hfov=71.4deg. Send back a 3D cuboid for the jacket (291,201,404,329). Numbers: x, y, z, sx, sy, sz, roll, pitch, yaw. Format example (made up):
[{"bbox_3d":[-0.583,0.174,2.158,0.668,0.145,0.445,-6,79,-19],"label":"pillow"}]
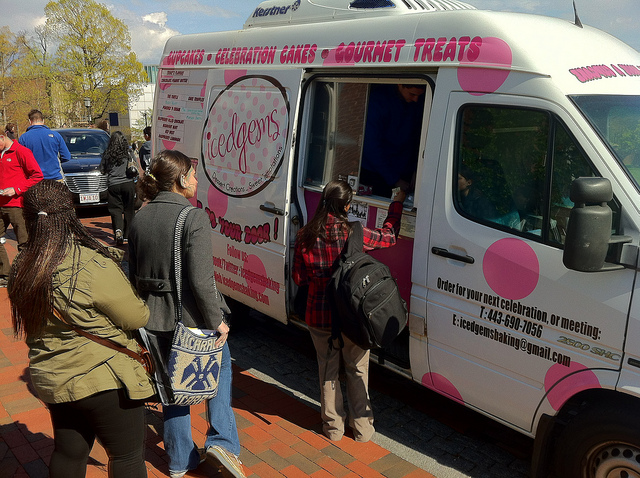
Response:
[{"bbox_3d":[0.274,-0.140,4.356,0.720,1.409,1.462,3,59,16],"label":"jacket"}]

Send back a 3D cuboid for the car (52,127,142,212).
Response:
[{"bbox_3d":[-5.066,-1.554,10.101,1.805,1.986,3.826,-2,11,-22],"label":"car"}]

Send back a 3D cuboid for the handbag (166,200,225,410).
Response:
[{"bbox_3d":[-0.869,0.529,3.076,0.357,1.537,0.341,-1,10,-15],"label":"handbag"}]

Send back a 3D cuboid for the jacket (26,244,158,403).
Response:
[{"bbox_3d":[-1.412,0.327,2.803,0.706,1.156,0.834,-9,19,-41],"label":"jacket"}]

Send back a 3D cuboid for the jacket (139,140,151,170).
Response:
[{"bbox_3d":[-3.994,-1.909,10.189,0.216,0.640,0.685,-3,13,-24],"label":"jacket"}]

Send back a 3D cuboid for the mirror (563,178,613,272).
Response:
[{"bbox_3d":[1.614,-0.082,2.668,0.228,0.578,0.106,-1,15,9],"label":"mirror"}]

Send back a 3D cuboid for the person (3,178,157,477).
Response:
[{"bbox_3d":[-1.374,0.594,2.617,0.733,1.845,0.571,-3,11,-24],"label":"person"}]
